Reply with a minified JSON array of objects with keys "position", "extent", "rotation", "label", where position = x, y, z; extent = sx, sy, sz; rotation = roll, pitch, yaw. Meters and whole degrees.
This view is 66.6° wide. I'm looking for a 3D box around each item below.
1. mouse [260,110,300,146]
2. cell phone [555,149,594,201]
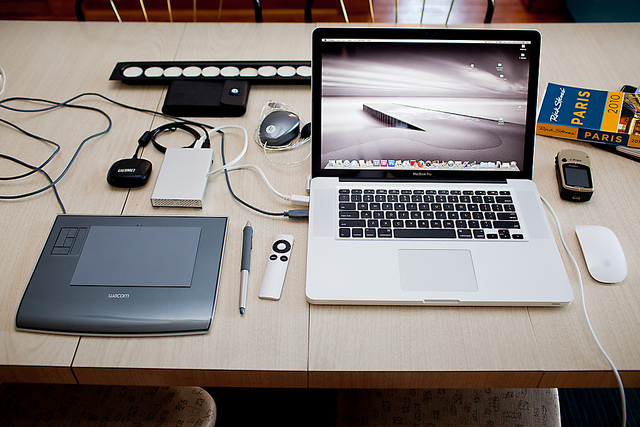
[{"position":[-0.115,-0.244,1.381],"extent":[0.085,0.032,0.114],"rotation":[28,50,19],"label":"mouse"},{"position":[0.669,-0.103,1.282],"extent":[0.082,0.045,0.135],"rotation":[-1,54,7],"label":"cell phone"}]
